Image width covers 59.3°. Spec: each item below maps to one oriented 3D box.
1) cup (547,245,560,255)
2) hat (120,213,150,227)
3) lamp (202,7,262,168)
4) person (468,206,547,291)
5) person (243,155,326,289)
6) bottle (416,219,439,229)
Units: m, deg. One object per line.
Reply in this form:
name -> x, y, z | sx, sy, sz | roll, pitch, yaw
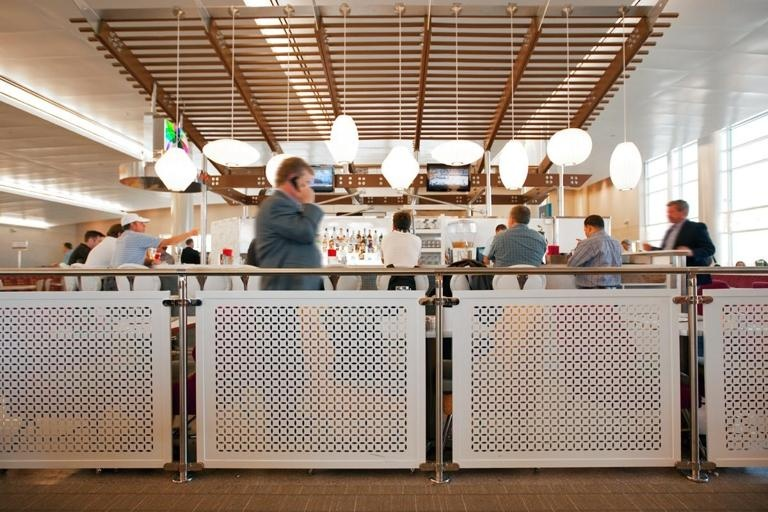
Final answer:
cup -> 2.250, -0.080, 9.074 | 0.181, 0.172, 0.178 | 3, 6, 0
hat -> -3.220, -0.481, 8.804 | 0.371, 0.127, 0.236 | -3, 5, -34
lamp -> -2.351, -2.322, 10.230 | 0.711, 2.419, 3.063 | 0, -4, -15
person -> 1.552, -0.137, 8.081 | 0.706, 0.898, 0.932 | -1, 8, -12
person -> -0.972, -0.001, 7.062 | 0.767, 1.993, 0.725 | -3, 25, -16
bottle -> 0.720, -0.543, 11.448 | 0.237, 0.082, 0.243 | 1, -1, 0
